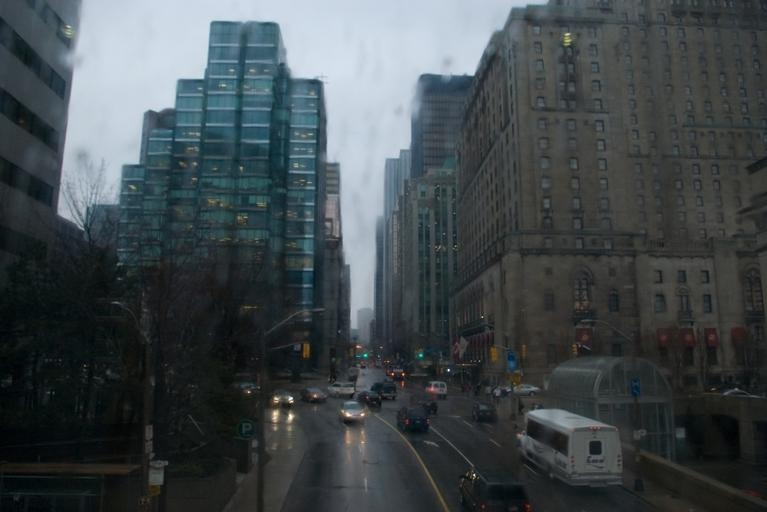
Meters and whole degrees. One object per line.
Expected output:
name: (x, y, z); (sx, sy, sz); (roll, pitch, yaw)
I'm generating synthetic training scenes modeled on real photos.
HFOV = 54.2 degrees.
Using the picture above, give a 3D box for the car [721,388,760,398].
car: (41.408, 15.990, 87.461); (2.228, 0.843, 2.516); (-1, -9, 10)

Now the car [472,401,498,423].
car: (10.955, 16.868, 80.963); (2.422, 2.269, 1.566); (-3, -15, 5)
